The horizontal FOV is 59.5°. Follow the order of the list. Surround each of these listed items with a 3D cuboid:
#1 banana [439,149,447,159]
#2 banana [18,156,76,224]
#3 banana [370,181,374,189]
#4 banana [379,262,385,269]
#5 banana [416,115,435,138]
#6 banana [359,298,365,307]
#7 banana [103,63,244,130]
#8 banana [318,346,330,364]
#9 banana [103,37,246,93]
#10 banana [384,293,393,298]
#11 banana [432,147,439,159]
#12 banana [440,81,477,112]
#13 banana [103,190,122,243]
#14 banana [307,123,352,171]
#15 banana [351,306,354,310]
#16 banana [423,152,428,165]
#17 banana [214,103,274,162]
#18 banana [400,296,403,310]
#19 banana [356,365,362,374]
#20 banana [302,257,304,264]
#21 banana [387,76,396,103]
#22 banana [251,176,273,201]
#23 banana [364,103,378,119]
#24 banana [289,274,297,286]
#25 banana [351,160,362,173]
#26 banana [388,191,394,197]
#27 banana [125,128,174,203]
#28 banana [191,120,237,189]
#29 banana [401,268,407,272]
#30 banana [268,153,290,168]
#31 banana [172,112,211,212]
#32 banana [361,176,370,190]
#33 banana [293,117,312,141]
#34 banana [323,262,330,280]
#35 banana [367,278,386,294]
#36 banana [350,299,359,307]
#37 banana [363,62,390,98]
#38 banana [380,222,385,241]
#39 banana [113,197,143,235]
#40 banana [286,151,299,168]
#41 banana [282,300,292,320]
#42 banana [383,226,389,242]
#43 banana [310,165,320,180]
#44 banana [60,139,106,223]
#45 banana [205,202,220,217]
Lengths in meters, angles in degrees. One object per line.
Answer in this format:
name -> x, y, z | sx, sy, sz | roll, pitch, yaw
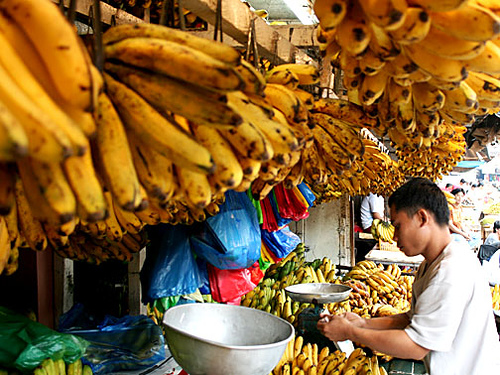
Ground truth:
banana -> 1.292, -0.229, 2.932 | 0.062, 0.019, 0.013 | 42, 13, -6
banana -> -0.386, 0.000, 0.834 | 0.036, 0.137, 0.044 | -30, -16, 12
banana -> 0.726, -0.018, 2.608 | 0.009, 0.030, 0.008 | -4, 22, 43
banana -> 1.546, 0.917, 5.132 | 0.040, 0.054, 0.156 | 7, 5, 7
banana -> 0.549, -0.189, 1.368 | 0.017, 0.075, 0.042 | -3, -14, -34
banana -> 0.914, 0.943, 3.592 | 0.037, 0.056, 0.028 | 14, -11, 20
banana -> -0.180, -0.232, 1.169 | 0.101, 0.178, 0.524 | -22, 9, 10
banana -> 0.418, 0.934, 2.475 | 0.029, 0.112, 0.038 | 27, -25, 26
banana -> -0.164, -0.275, 0.941 | 0.369, 0.112, 0.073 | 12, 10, 22
banana -> 1.280, 0.997, 4.031 | 0.035, 0.018, 0.037 | 7, 32, -12
banana -> 1.235, -0.224, 2.925 | 0.018, 0.073, 0.042 | -12, 13, 35
banana -> 0.596, -0.256, 1.224 | 0.116, 0.064, 0.039 | -15, -20, -33
banana -> -0.386, 0.079, 1.224 | 0.035, 0.153, 0.045 | -19, 31, -35
banana -> 0.248, -0.126, 1.377 | 0.038, 0.153, 0.049 | -36, -9, 7
banana -> 0.841, 0.990, 3.602 | 0.010, 0.021, 0.019 | -1, 24, -5
banana -> 1.185, -0.200, 2.955 | 0.015, 0.062, 0.019 | 4, 19, 2
banana -> 0.009, -0.089, 1.026 | 0.054, 0.067, 0.221 | -21, -36, 14
banana -> 1.340, 1.025, 3.868 | 0.029, 0.100, 0.034 | 6, -12, -1
banana -> 0.556, 0.927, 2.233 | 0.026, 0.037, 0.027 | 3, 4, 9
banana -> 0.548, 0.759, 4.541 | 0.020, 0.022, 0.067 | 11, 26, -2
banana -> 0.406, -0.278, 1.257 | 0.014, 0.086, 0.021 | 13, -21, -32
banana -> 0.038, -0.006, 1.387 | 0.051, 0.088, 0.022 | 19, 15, 19
banana -> 0.376, -0.239, 1.368 | 0.044, 0.049, 0.029 | 6, 16, -8
banana -> 0.404, 0.859, 4.079 | 0.026, 0.029, 0.114 | 35, 37, -5
banana -> 0.394, -0.074, 1.624 | 0.024, 0.019, 0.072 | -34, -39, 11
banana -> 1.092, 0.044, 3.401 | 0.017, 0.025, 0.088 | 26, -31, 8
banana -> -0.225, -0.043, 0.998 | 0.067, 0.237, 0.078 | -15, -21, -20
banana -> -0.079, -0.070, 0.983 | 0.047, 0.146, 0.035 | -16, -20, -38
banana -> 1.840, 0.992, 5.217 | 0.015, 0.049, 0.045 | 0, 11, -30
banana -> 0.072, -0.066, 1.045 | 0.023, 0.015, 0.045 | 26, -23, -11
banana -> -0.125, -0.020, 1.049 | 0.072, 0.304, 0.094 | -10, 12, -7
banana -> 0.611, -0.013, 2.298 | 0.023, 0.096, 0.031 | -2, 32, 37
banana -> 0.142, -0.154, 1.180 | 0.041, 0.082, 0.024 | -34, 24, -28
banana -> 0.771, 0.845, 4.462 | 0.033, 0.156, 0.041 | 11, -38, -2
banana -> 1.186, 0.932, 4.130 | 0.048, 0.065, 0.227 | 31, 13, -30
banana -> 0.866, 0.951, 3.643 | 0.040, 0.084, 0.021 | -28, -18, -49
banana -> 0.361, -0.290, 1.230 | 0.033, 0.130, 0.040 | 17, 0, -18
banana -> 2.142, 0.719, 7.046 | 0.077, 0.223, 0.043 | 25, -27, -36
banana -> -0.345, 0.080, 1.226 | 0.036, 0.048, 0.150 | -9, -37, 15
banana -> 0.117, -0.078, 1.201 | 0.023, 0.040, 0.011 | 18, -7, -23
banana -> 0.272, 0.926, 3.295 | 0.050, 0.196, 0.066 | 3, -37, -5
banana -> 2.178, 0.743, 7.029 | 0.080, 0.218, 0.221 | 3, 4, 8
banana -> 0.202, -0.045, 1.364 | 0.032, 0.042, 0.012 | 3, 5, 13
banana -> -0.332, -0.004, 0.875 | 0.047, 0.216, 0.069 | -18, -8, 19
banana -> -0.155, 0.083, 1.789 | 0.037, 0.019, 0.061 | -7, -39, 2
